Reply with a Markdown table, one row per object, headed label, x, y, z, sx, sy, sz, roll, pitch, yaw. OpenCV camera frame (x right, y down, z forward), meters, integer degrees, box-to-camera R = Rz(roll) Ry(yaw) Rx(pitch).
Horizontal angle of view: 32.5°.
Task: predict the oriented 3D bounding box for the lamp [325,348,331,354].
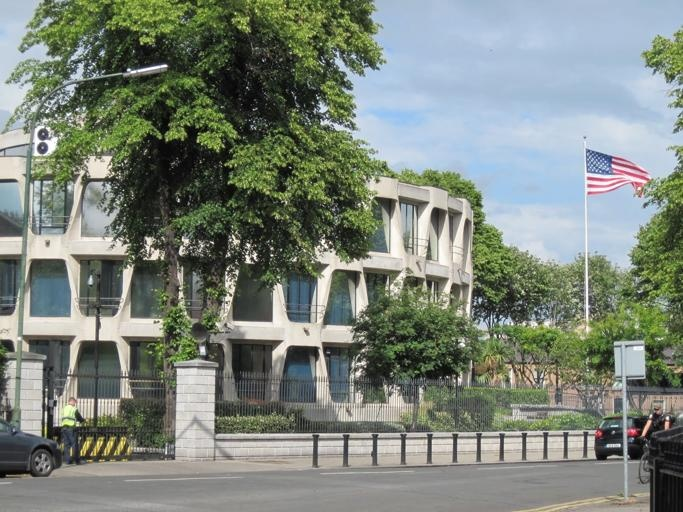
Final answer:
| label | x | y | z | sx | sy | sz | roll | pitch | yaw |
| --- | --- | --- | --- | --- | --- | --- | --- | --- | --- |
| lamp | -0.744 | 5.237 | 66.229 | 0.253 | 0.288 | 0.259 | -1 | 8 | -3 |
